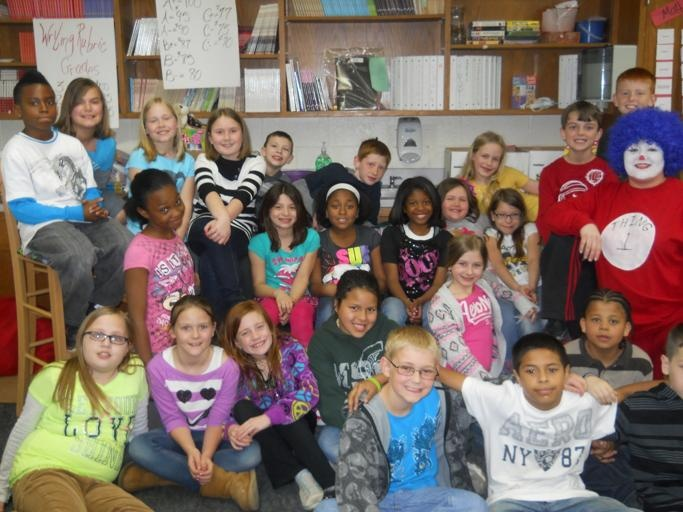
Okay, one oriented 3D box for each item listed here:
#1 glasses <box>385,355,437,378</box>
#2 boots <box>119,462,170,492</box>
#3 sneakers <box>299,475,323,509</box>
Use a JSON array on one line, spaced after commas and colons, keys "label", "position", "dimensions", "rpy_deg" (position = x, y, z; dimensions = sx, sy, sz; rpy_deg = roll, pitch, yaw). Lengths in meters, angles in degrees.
[{"label": "glasses", "position": [0.262, 0.420, 2.311], "dimensions": [0.208, 0.093, 0.120], "rpy_deg": [-1, 9, -1]}, {"label": "boots", "position": [-0.814, 0.938, 2.685], "dimensions": [0.266, 0.089, 0.112], "rpy_deg": [-1, 6, -11]}, {"label": "sneakers", "position": [-0.137, 0.947, 2.527], "dimensions": [0.071, 0.049, 0.121], "rpy_deg": [-35, 39, -3]}]
